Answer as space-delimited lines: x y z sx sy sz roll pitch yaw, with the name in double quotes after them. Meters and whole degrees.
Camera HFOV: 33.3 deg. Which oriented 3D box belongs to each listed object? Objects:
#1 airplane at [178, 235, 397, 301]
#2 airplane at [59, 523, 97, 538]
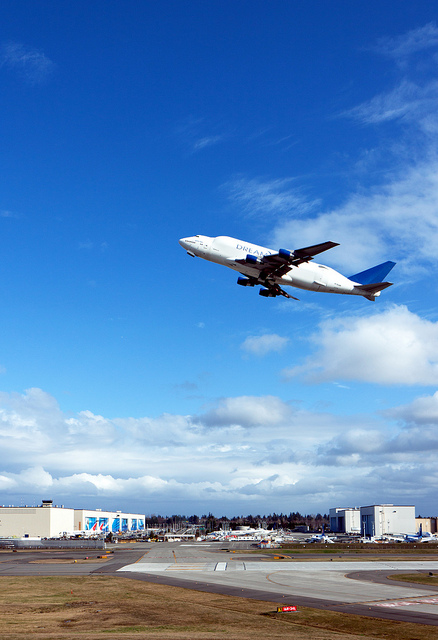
11.561 -7.014 93.901 29.740 7.142 12.367 6 -15 -26 "airplane"
-41.028 62.257 213.046 5.605 2.225 29.405 -1 -13 1 "airplane"
